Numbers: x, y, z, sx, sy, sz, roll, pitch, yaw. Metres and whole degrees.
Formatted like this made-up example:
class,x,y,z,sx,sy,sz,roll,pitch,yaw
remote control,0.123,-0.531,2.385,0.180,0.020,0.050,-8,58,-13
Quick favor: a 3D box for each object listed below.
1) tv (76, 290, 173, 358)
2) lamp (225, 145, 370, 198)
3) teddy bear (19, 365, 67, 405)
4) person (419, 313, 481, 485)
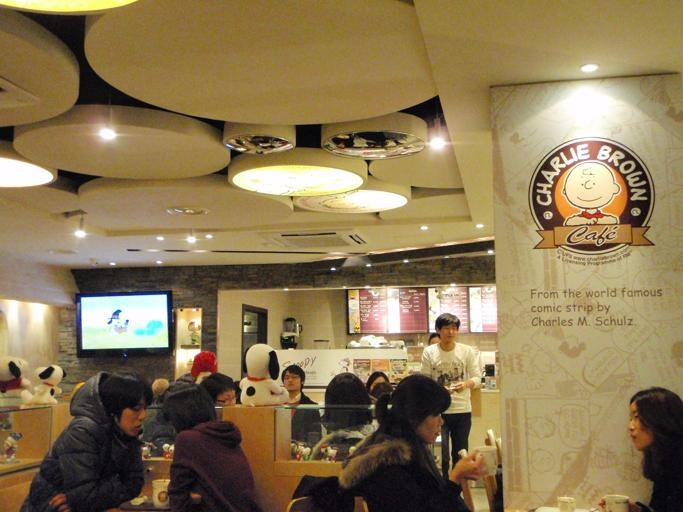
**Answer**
class,x,y,z,sx,sy,sz,roll,pitch,yaw
tv,-3.882,1.250,9.769,1.447,0.865,0.139,-1,-2,3
lamp,-0.364,-0.712,4.566,1.144,0.214,0.693,1,-9,-12
teddy bear,-3.145,1.374,5.726,0.390,0.405,0.319,-6,-17,16
person,1.126,1.590,5.583,0.735,1.839,0.718,-1,-9,8
